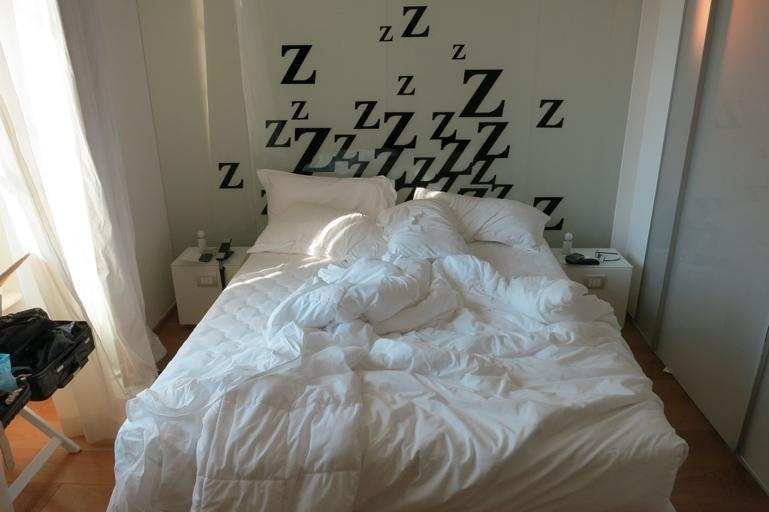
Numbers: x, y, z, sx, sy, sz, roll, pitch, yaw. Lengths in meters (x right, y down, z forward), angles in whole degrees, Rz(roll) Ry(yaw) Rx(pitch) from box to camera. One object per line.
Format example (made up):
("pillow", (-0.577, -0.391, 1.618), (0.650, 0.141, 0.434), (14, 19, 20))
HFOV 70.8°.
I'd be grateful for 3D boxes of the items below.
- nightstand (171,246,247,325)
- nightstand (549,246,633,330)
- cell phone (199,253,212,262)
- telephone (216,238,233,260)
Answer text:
("nightstand", (-1.446, 0.209, 4.496), (0.505, 0.516, 0.358), (2, 30, -9))
("nightstand", (1.614, 0.263, 4.551), (0.697, 0.693, 0.556), (-1, 13, 4))
("cell phone", (-1.420, 0.010, 4.315), (0.072, 0.019, 0.076), (5, 40, -4))
("telephone", (-1.284, -0.050, 4.369), (0.088, 0.066, 0.209), (2, 20, 2))
